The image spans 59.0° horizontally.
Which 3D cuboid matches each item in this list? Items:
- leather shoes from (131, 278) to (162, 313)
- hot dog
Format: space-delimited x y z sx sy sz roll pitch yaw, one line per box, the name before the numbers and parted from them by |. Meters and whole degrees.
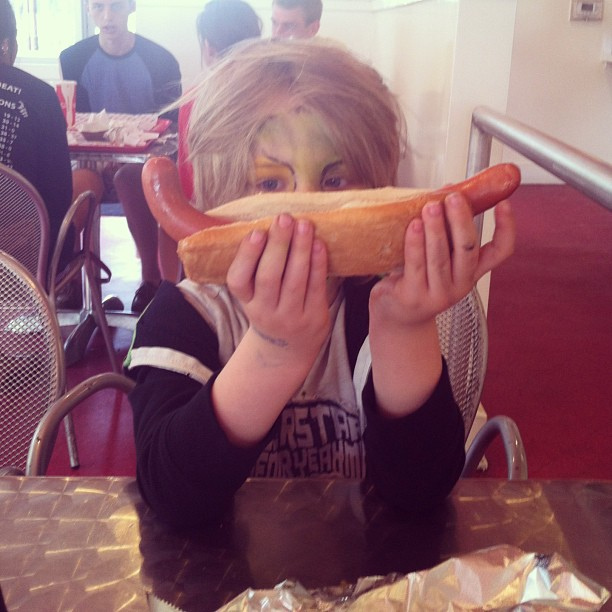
leather shoes | -0.609 -0.044 2.053 0.051 0.049 0.212 22 31 -9
hot dog | 0.017 -0.068 0.437 0.289 0.101 0.096 -1 10 -6
